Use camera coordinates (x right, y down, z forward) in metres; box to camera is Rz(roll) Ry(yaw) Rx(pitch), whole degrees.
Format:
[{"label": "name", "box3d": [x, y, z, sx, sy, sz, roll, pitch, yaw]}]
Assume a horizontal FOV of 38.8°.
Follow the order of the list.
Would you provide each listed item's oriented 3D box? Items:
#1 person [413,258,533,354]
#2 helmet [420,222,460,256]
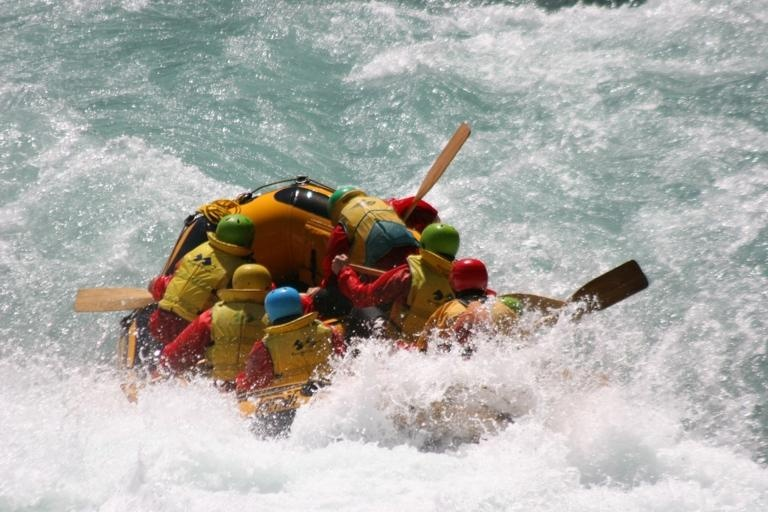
[{"label": "person", "box3d": [1.270, 0.933, 16.476, 1.176, 1.252, 1.503, 24, 70, 5]}, {"label": "helmet", "box3d": [0.906, -0.280, 17.025, 0.629, 0.455, 0.483, -10, 103, 10]}]
